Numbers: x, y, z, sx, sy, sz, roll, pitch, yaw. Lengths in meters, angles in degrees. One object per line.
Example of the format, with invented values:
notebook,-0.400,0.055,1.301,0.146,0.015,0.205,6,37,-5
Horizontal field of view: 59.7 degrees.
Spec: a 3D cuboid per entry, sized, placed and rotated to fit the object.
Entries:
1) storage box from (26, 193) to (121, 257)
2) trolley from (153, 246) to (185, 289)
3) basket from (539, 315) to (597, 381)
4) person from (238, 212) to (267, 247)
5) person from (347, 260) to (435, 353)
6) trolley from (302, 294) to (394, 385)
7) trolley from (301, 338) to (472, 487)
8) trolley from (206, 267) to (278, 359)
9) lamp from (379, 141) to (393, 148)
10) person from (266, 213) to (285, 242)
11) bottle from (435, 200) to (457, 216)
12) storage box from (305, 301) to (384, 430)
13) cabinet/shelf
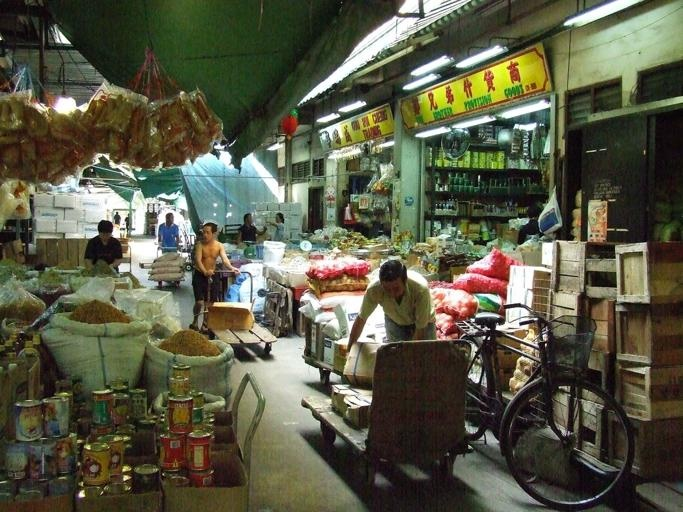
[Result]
storage box,-5.863,-0.751,12.844,1.378,1.520,1.078,2,4,-19
trolley,-4.251,0.318,14.452,0.778,0.842,0.793,-4,6,-21
basket,1.691,0.656,4.590,0.414,0.569,0.450,2,-2,9
person,-2.119,-0.651,14.095,0.549,0.703,1.553,-2,6,-2
person,0.417,0.482,5.419,0.400,0.542,0.886,13,-28,20
trolley,0.052,1.035,6.421,0.635,0.640,0.891,7,2,-39
trolley,0.329,1.163,5.157,0.931,1.189,1.722,2,0,-20
trolley,-1.483,0.773,8.431,0.723,1.095,1.612,4,0,-28
lamp,1.087,-2.666,14.125,0.287,0.136,0.675,-5,7,-27
person,-1.623,-0.747,14.832,0.446,0.685,0.902,-2,6,-7
bottle,2.223,-1.026,12.543,0.328,0.260,0.352,1,1,0
storage box,-0.002,1.116,5.654,0.516,0.596,0.998,4,3,-13
cabinet/shelf,2.946,-1.254,11.801,1.801,2.375,0.663,2,-4,2
